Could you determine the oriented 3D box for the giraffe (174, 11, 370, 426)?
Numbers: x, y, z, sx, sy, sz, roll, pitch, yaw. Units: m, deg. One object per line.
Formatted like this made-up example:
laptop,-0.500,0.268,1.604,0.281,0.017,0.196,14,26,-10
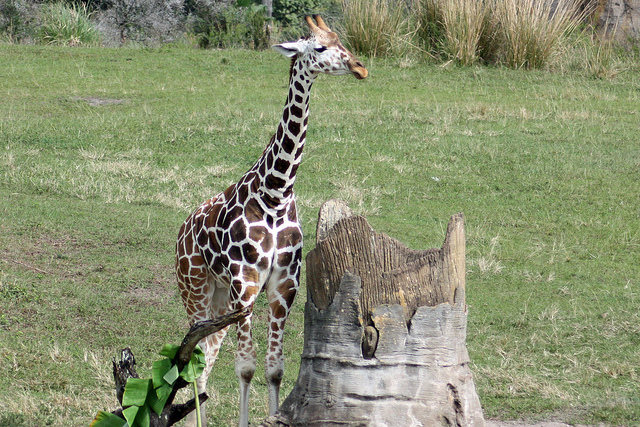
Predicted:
giraffe,-1.005,0.159,21.126,2.498,6.642,2.608,0,15,-12
